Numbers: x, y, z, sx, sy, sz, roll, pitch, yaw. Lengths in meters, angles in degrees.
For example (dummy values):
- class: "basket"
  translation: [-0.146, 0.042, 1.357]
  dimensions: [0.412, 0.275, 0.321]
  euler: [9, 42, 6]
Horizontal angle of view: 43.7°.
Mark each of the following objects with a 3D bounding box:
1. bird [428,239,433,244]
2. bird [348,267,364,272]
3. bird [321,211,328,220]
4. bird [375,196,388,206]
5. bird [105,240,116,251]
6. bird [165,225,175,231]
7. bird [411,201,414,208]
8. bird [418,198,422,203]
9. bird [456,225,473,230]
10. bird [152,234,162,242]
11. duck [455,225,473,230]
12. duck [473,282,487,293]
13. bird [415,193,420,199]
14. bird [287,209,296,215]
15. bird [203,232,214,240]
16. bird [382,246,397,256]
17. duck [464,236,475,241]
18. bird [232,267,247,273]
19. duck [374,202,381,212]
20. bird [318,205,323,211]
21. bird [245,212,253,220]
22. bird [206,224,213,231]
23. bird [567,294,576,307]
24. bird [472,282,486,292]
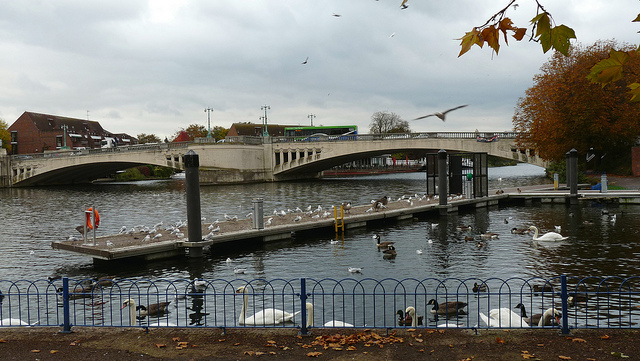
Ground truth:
- class: "bird"
  translation: [8.799, 4.960, 63.803]
  dimensions: [0.324, 0.242, 0.084]
  euler: [-2, -7, -36]
- class: "bird"
  translation: [2.698, 6.596, 58.769]
  dimensions: [1.033, 0.329, 0.285]
  euler: [-1, -9, 18]
- class: "bird"
  translation: [0.478, 3.086, 69.281]
  dimensions: [0.694, 0.581, 0.301]
  euler: [-17, -10, 14]
- class: "bird"
  translation: [5.888, 1.938, 72.472]
  dimensions: [0.498, 0.566, 1.557]
  euler: [3, 6, 34]
- class: "bird"
  translation: [-15.837, 4.885, 60.702]
  dimensions: [0.388, 0.604, 0.595]
  euler: [-6, 17, 23]
- class: "bird"
  translation: [-12.245, 4.041, 66.032]
  dimensions: [0.335, 0.443, 1.017]
  euler: [11, 13, 43]
- class: "bird"
  translation: [8.619, 2.296, 74.236]
  dimensions: [0.234, 0.236, 0.642]
  euler: [-1, 27, 14]
- class: "bird"
  translation: [9.728, 2.000, 77.730]
  dimensions: [0.293, 0.302, 0.878]
  euler: [-4, -4, 22]
- class: "bird"
  translation: [12.336, 4.081, 67.709]
  dimensions: [1.427, 0.568, 0.379]
  euler: [-1, 14, -5]
- class: "bird"
  translation: [-12.639, 4.490, 62.396]
  dimensions: [0.667, 0.450, 0.781]
  euler: [-2, 3, -23]
- class: "duck"
  translation: [12.249, 4.106, 67.733]
  dimensions: [1.365, 0.586, 0.413]
  euler: [1, 19, -1]
- class: "duck"
  translation: [11.236, 7.537, 55.832]
  dimensions: [0.788, 0.336, 1.042]
  euler: [0, -3, 4]
- class: "bird"
  translation: [9.936, 1.659, 81.719]
  dimensions: [0.358, 0.412, 1.123]
  euler: [-9, -10, 33]
- class: "bird"
  translation: [-2.608, 2.989, 74.030]
  dimensions: [0.393, 0.432, 1.181]
  euler: [-3, -2, 37]
- class: "bird"
  translation: [-8.624, 4.351, 62.368]
  dimensions: [0.756, 0.538, 0.469]
  euler: [-1, 2, -10]
- class: "bird"
  translation: [5.493, 5.559, 61.711]
  dimensions: [0.891, 0.489, 0.512]
  euler: [2, 4, 6]
- class: "duck"
  translation: [12.049, 4.763, 64.780]
  dimensions: [0.742, 0.298, 0.517]
  euler: [1, 3, 39]
- class: "bird"
  translation: [-5.938, 6.710, 59.407]
  dimensions: [0.967, 0.270, 0.771]
  euler: [-1, 2, -11]
- class: "duck"
  translation: [5.080, 2.411, 70.754]
  dimensions: [0.448, 0.719, 0.692]
  euler: [-1, 2, 3]
- class: "bird"
  translation: [0.037, 2.608, 77.007]
  dimensions: [0.520, 0.530, 0.174]
  euler: [11, 28, 21]
- class: "bird"
  translation: [-6.371, 3.266, 72.589]
  dimensions: [0.924, 0.525, 1.286]
  euler: [-1, 3, -21]
- class: "bird"
  translation: [-9.019, 3.926, 65.452]
  dimensions: [0.455, 0.418, 1.206]
  euler: [7, 3, 0]
- class: "bird"
  translation: [17.301, 8.325, 55.118]
  dimensions: [0.582, 0.475, 0.952]
  euler: [2, 7, 22]
- class: "bird"
  translation: [11.229, 7.501, 55.883]
  dimensions: [0.751, 0.330, 1.020]
  euler: [0, -3, 2]
